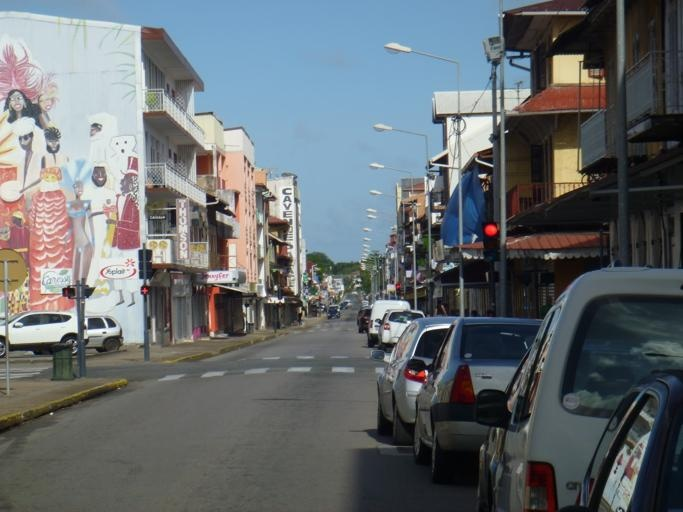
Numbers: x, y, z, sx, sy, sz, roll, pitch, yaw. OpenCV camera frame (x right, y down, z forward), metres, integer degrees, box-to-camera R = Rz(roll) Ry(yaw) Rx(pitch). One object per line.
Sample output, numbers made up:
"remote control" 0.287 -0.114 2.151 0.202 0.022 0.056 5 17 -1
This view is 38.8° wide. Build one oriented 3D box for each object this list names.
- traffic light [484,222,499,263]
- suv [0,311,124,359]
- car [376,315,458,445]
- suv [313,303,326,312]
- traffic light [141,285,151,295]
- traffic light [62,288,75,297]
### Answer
"traffic light" 3.525 -0.368 23.043 0.340 0.868 0.484 -1 -4 8
"suv" -10.838 2.952 37.182 4.584 1.647 1.623 2 -5 -33
"car" 1.011 1.704 13.771 0.826 0.996 1.886 -1 0 -5
"suv" -3.838 8.407 162.224 1.579 1.050 2.274 0 -9 -3
"traffic light" -6.761 1.142 33.279 0.303 0.533 0.261 1 3 5
"traffic light" -6.991 0.920 25.030 0.303 0.272 0.304 -3 -4 44
